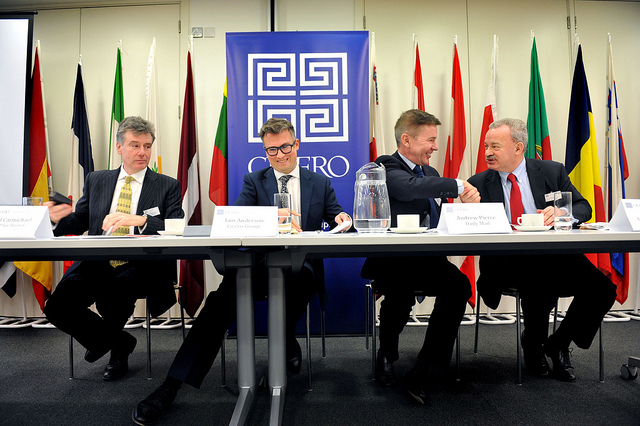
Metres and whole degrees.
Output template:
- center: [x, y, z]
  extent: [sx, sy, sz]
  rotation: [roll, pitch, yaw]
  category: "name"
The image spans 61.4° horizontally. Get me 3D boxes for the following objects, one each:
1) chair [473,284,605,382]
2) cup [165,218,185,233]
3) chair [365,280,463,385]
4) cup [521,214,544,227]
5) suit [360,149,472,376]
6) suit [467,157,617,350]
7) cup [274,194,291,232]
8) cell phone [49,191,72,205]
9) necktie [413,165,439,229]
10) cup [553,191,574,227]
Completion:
- center: [1.640, 0.882, 4.327]
  extent: [0.801, 0.774, 0.991]
  rotation: [1, 6, 6]
  category: "chair"
- center: [-0.944, 0.075, 3.496]
  extent: [0.104, 0.083, 0.105]
  rotation: [1, 3, 0]
  category: "cup"
- center: [0.736, 0.870, 4.292]
  extent: [0.672, 0.758, 0.774]
  rotation: [0, -2, -1]
  category: "chair"
- center: [1.354, 0.045, 3.433]
  extent: [0.099, 0.069, 0.079]
  rotation: [-3, 2, 21]
  category: "cup"
- center: [0.670, 0.401, 3.985]
  extent: [0.679, 1.597, 0.859]
  rotation: [-3, 9, -13]
  category: "suit"
- center: [1.649, 0.453, 4.215]
  extent: [0.788, 1.719, 0.813]
  rotation: [0, 1, -1]
  category: "suit"
- center: [-0.242, -0.011, 3.432]
  extent: [0.102, 0.227, 0.213]
  rotation: [-3, 10, -15]
  category: "cup"
- center: [-1.756, -0.102, 3.602]
  extent: [0.117, 0.079, 0.209]
  rotation: [-10, 14, -44]
  category: "cell phone"
- center: [0.829, -0.112, 4.260]
  extent: [0.142, 0.535, 0.164]
  rotation: [-5, 10, -31]
  category: "necktie"
- center: [1.622, -0.014, 3.539]
  extent: [0.136, 0.256, 0.145]
  rotation: [-1, 3, 0]
  category: "cup"
